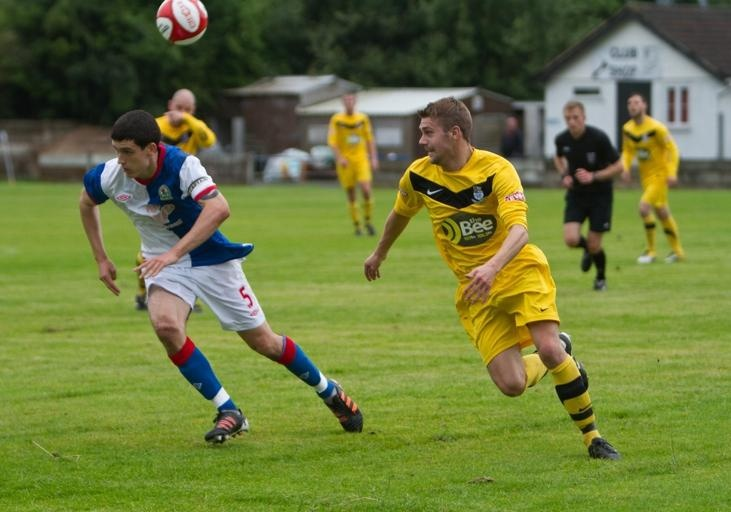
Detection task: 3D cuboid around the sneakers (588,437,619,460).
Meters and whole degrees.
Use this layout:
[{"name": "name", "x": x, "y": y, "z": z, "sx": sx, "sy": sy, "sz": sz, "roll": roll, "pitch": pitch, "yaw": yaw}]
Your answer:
[{"name": "sneakers", "x": 1.840, "y": 1.493, "z": 9.591, "sx": 0.143, "sy": 0.080, "sz": 0.201, "roll": -6, "pitch": 7, "yaw": -30}]

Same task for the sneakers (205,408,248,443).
[{"name": "sneakers", "x": -1.096, "y": 1.357, "z": 9.887, "sx": 0.165, "sy": 0.232, "sz": 0.455, "roll": -19, "pitch": -2, "yaw": 33}]

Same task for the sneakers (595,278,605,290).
[{"name": "sneakers", "x": 2.672, "y": 0.324, "z": 14.166, "sx": 0.126, "sy": 0.117, "sz": 0.118, "roll": -4, "pitch": 9, "yaw": -2}]
